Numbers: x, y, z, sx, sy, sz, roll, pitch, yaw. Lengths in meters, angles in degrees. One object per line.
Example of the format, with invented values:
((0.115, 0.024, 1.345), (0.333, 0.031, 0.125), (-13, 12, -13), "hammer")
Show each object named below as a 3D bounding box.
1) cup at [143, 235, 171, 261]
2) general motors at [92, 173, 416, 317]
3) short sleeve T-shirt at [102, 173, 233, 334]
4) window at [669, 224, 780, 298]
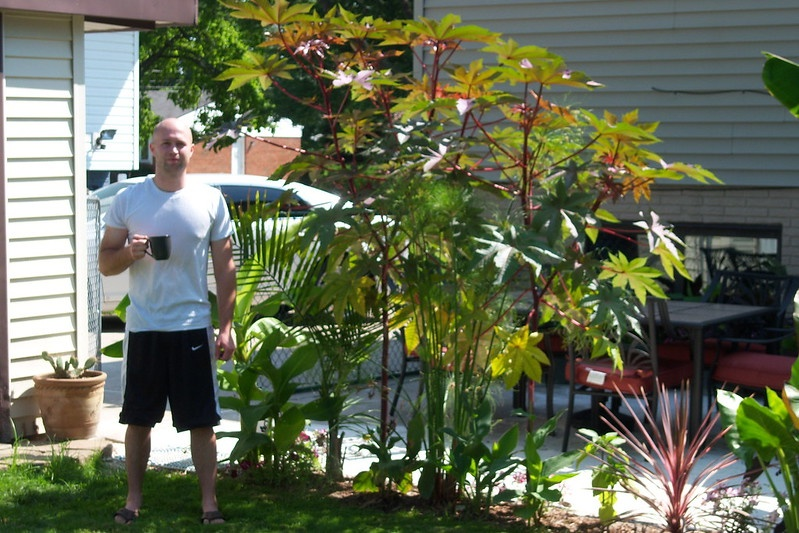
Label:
((-1.607, -0.121, 6.140), (0.183, 0.141, 0.120), (-2, -1, 36), "cup")
((-1.863, -0.324, 11.654), (3.837, 1.428, 1.719), (0, 2, -17), "general motors")
((-1.607, -0.089, 6.386), (0.940, 1.041, 0.502), (0, 7, -13), "short sleeve T-shirt")
((3.578, -0.071, 9.896), (0.790, 0.753, 0.034), (6, 13, 35), "window")
